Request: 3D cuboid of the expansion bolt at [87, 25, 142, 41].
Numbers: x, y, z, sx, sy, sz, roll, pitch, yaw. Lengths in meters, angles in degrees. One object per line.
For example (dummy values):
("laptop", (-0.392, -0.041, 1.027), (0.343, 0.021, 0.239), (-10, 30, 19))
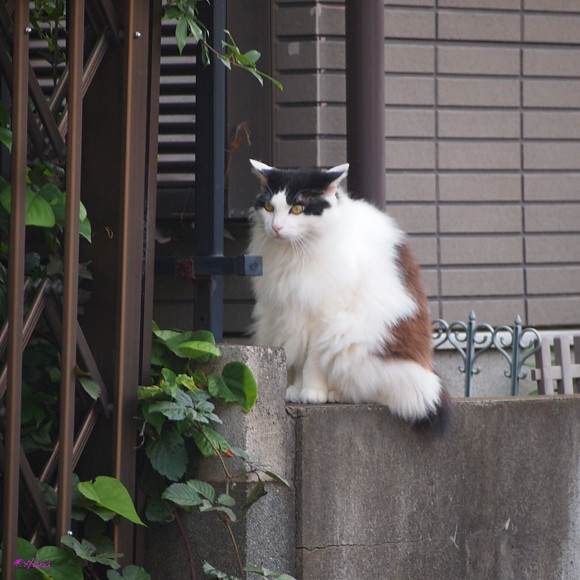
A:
("expansion bolt", (-0.813, -1.179, 7.446), (0.297, 0.111, 0.081), (10, 17, 36))
